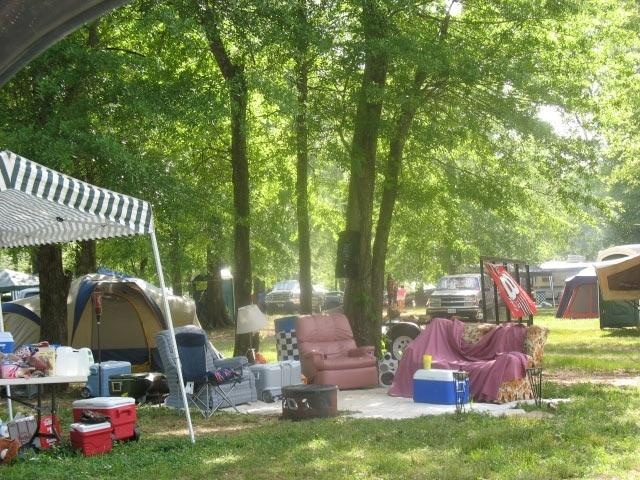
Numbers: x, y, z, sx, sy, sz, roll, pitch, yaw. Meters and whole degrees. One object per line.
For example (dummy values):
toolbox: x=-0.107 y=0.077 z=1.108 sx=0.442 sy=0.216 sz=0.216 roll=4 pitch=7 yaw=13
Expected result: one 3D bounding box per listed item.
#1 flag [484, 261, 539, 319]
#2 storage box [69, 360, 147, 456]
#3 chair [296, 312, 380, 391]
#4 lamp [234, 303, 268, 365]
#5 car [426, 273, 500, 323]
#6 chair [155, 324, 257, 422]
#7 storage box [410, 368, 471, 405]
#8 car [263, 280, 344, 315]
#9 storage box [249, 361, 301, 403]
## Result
flag: x=4.014 y=1.078 z=18.010 sx=1.033 sy=1.275 sz=0.614 roll=-3 pitch=-6 yaw=-3
storage box: x=-3.395 y=2.673 z=13.574 sx=1.005 sy=1.500 sz=1.092 roll=5 pitch=4 yaw=43
chair: x=0.316 y=2.293 z=17.424 sx=1.560 sy=1.617 sz=1.084 roll=-2 pitch=-7 yaw=-11
lamp: x=-1.548 y=2.037 z=18.123 sx=0.844 sy=1.301 sz=0.859 roll=-15 pitch=17 yaw=-31
car: x=5.193 y=2.234 z=31.413 sx=1.847 sy=1.890 sz=3.923 roll=-2 pitch=-7 yaw=22
chair: x=-2.134 y=2.438 z=15.911 sx=1.578 sy=1.707 sz=1.264 roll=-5 pitch=-5 yaw=38
storage box: x=2.064 y=2.681 z=15.442 sx=0.610 sy=0.646 sz=0.859 roll=6 pitch=-9 yaw=-42
car: x=-1.034 y=2.551 z=38.871 sx=3.327 sy=1.894 sz=5.820 roll=-3 pitch=-9 yaw=-5
storage box: x=-0.903 y=2.867 z=16.967 sx=0.624 sy=0.874 sz=1.077 roll=-4 pitch=-3 yaw=42
